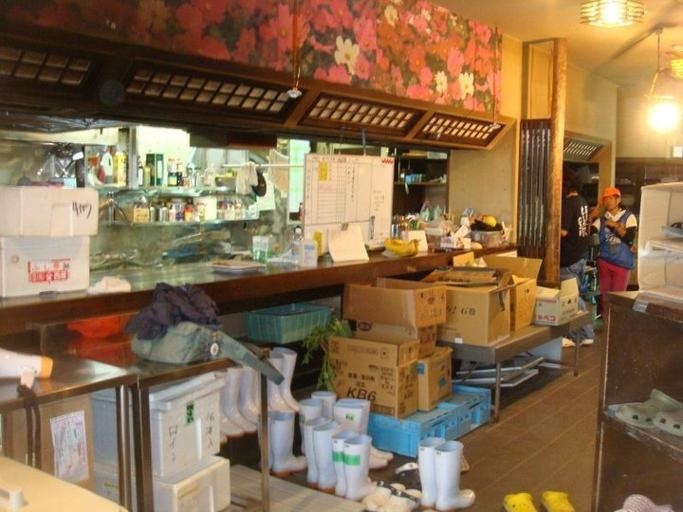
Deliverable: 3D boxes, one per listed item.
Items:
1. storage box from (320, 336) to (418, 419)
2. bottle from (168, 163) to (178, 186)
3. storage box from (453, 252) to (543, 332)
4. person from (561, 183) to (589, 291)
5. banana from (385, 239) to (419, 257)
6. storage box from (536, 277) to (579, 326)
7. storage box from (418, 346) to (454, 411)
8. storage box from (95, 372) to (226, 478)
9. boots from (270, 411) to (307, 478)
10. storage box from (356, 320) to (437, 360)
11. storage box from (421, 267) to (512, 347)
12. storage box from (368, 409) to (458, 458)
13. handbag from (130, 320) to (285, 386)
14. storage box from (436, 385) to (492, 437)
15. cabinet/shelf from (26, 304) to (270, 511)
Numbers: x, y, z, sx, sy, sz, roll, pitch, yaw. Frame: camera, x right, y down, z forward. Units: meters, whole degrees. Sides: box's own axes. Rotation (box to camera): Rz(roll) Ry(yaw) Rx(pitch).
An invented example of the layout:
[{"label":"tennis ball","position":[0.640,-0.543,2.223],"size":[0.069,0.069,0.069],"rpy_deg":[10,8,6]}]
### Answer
[{"label":"storage box","position":[0.229,0.781,4.126],"size":[0.877,0.700,0.500],"rpy_deg":[3,5,33]},{"label":"bottle","position":[-1.582,-0.771,5.009],"size":[0.088,0.224,0.028],"rpy_deg":[-4,8,-44]},{"label":"storage box","position":[1.582,0.244,5.327],"size":[0.844,0.635,0.759],"rpy_deg":[5,12,28]},{"label":"person","position":[3.041,-0.318,6.993],"size":[0.336,1.406,0.497],"rpy_deg":[4,7,24]},{"label":"banana","position":[0.552,-0.076,5.073],"size":[0.236,0.135,0.172],"rpy_deg":[7,4,44]},{"label":"storage box","position":[2.173,0.476,5.360],"size":[0.400,0.387,0.562],"rpy_deg":[3,5,40]},{"label":"storage box","position":[0.711,0.952,4.111],"size":[0.244,0.342,0.460],"rpy_deg":[0,7,29]},{"label":"storage box","position":[-0.842,0.728,2.521],"size":[0.450,0.291,0.465],"rpy_deg":[-1,1,39]},{"label":"boots","position":[-0.358,1.234,3.569],"size":[0.257,0.431,0.144],"rpy_deg":[0,6,-16]},{"label":"storage box","position":[0.420,0.592,4.139],"size":[0.354,0.230,0.365],"rpy_deg":[4,4,36]},{"label":"storage box","position":[1.077,0.364,4.713],"size":[0.803,0.697,0.580],"rpy_deg":[2,4,42]},{"label":"storage box","position":[0.448,1.268,3.892],"size":[0.371,0.137,0.396],"rpy_deg":[4,5,37]},{"label":"handbag","position":[-0.629,0.459,2.605],"size":[0.781,0.233,0.485],"rpy_deg":[8,-12,11]},{"label":"storage box","position":[1.014,1.226,4.269],"size":[0.308,0.182,0.415],"rpy_deg":[2,5,37]},{"label":"cabinet/shelf","position":[-0.978,0.648,2.733],"size":[1.054,1.034,0.793],"rpy_deg":[7,9,43]}]
